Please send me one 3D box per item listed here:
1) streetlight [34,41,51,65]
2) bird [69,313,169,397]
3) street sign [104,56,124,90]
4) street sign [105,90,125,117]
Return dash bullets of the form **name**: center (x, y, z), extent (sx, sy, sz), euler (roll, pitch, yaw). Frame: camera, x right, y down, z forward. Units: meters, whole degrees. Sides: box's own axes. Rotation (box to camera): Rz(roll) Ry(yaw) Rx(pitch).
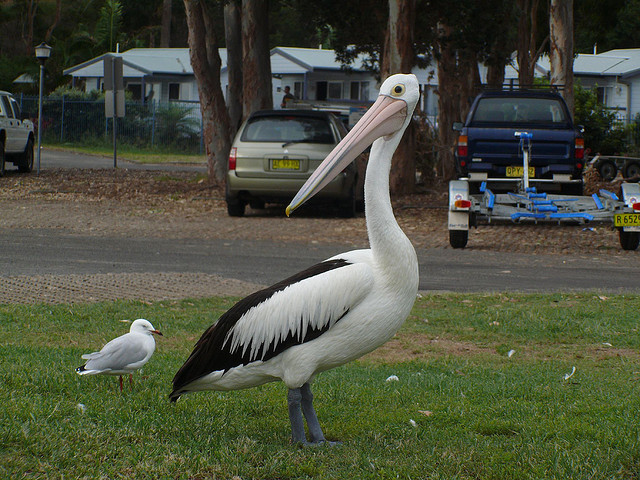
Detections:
- **streetlight**: center (-8.323, -5.536, 36.293), extent (0.383, 0.662, 1.507), euler (1, 7, -13)
- **bird**: center (-2.838, 1.650, 17.304), extent (1.264, 1.156, 0.643), euler (-2, 4, -28)
- **street sign**: center (-6.197, -4.948, 36.270), extent (0.570, 1.150, 0.130), euler (-4, 40, -12)
- **street sign**: center (-6.214, -4.098, 36.608), extent (0.756, 1.202, 0.126), euler (-2, -8, 19)
